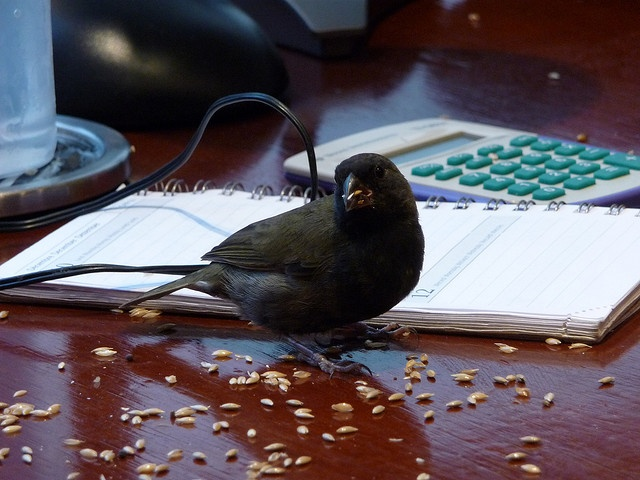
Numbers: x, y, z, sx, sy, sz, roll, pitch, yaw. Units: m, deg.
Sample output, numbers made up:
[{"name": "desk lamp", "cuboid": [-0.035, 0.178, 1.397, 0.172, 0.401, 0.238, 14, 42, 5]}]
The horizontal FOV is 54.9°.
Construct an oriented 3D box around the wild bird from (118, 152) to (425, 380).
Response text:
[{"name": "wild bird", "cuboid": [-0.035, 0.011, 0.593, 0.333, 0.161, 0.177, 3, 13, 37]}]
